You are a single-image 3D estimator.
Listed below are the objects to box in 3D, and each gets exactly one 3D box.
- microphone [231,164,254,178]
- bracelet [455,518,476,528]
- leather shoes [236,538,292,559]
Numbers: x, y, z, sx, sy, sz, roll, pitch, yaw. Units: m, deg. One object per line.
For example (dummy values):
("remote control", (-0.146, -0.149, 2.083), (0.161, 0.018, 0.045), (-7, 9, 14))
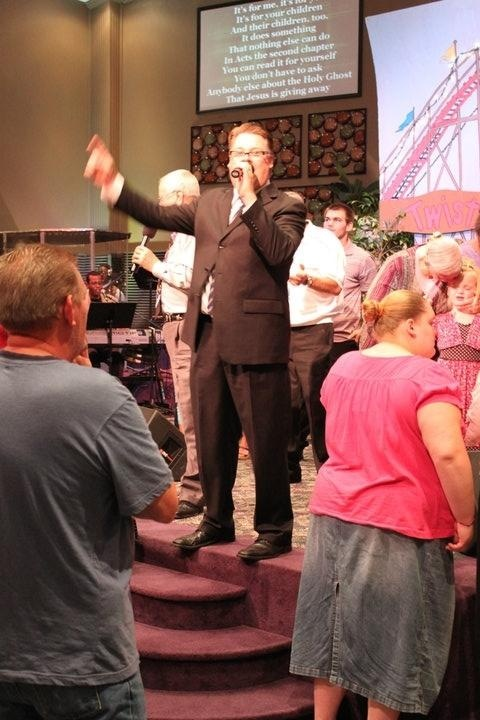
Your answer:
("microphone", (0.010, -0.632, 2.032), (0.027, 0.029, 0.109), (22, 44, 39))
("bracelet", (0.560, 0.403, 1.487), (0.039, 0.018, 0.014), (-1, 3, 3))
("leather shoes", (0.091, 0.678, 2.239), (0.203, 0.071, 0.074), (4, -8, -43))
